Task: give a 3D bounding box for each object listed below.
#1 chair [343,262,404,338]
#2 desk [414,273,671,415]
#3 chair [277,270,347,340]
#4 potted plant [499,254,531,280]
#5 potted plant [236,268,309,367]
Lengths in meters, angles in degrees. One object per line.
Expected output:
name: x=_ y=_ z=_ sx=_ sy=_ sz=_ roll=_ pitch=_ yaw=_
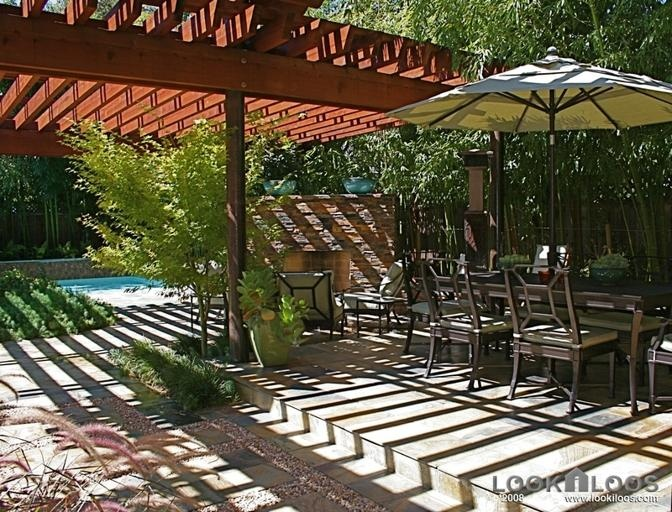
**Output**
chair: x=0.496 y=0.547 z=7.098 sx=1.288 sy=0.987 sz=0.699 roll=0 pitch=-1 yaw=-10
desk: x=1.972 y=0.556 z=4.468 sx=1.727 sy=1.352 sz=1.116 roll=-4 pitch=5 yaw=-40
chair: x=-0.247 y=0.549 z=6.260 sx=0.798 sy=0.786 sz=0.944 roll=1 pitch=2 yaw=22
potted plant: x=1.687 y=0.084 z=4.891 sx=0.381 sy=0.164 sz=0.326 roll=-4 pitch=-4 yaw=29
potted plant: x=-0.660 y=0.618 z=5.143 sx=0.650 sy=0.968 sz=0.304 roll=-3 pitch=2 yaw=8
